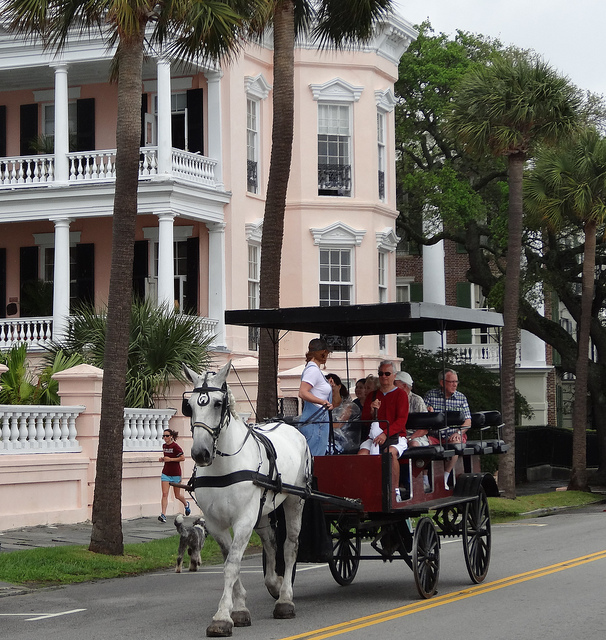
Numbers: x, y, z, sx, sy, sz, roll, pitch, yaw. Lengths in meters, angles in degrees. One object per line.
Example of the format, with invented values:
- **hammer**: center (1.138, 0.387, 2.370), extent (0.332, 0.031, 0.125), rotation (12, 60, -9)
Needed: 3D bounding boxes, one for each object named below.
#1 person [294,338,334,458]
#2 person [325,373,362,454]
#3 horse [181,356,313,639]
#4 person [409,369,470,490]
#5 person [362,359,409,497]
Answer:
- **person**: center (0.197, 1.121, 15.638), extent (0.393, 1.755, 0.575), rotation (3, 17, 8)
- **person**: center (0.440, 1.281, 16.564), extent (0.567, 1.290, 0.440), rotation (-2, 4, -12)
- **horse**: center (-0.597, 1.935, 14.268), extent (1.308, 2.725, 2.949), rotation (-1, -6, 0)
- **person**: center (1.788, 1.401, 16.943), extent (0.692, 1.563, 1.751), rotation (-1, -6, 7)
- **person**: center (0.939, 1.329, 15.623), extent (0.468, 1.639, 0.821), rotation (-5, -3, 20)
